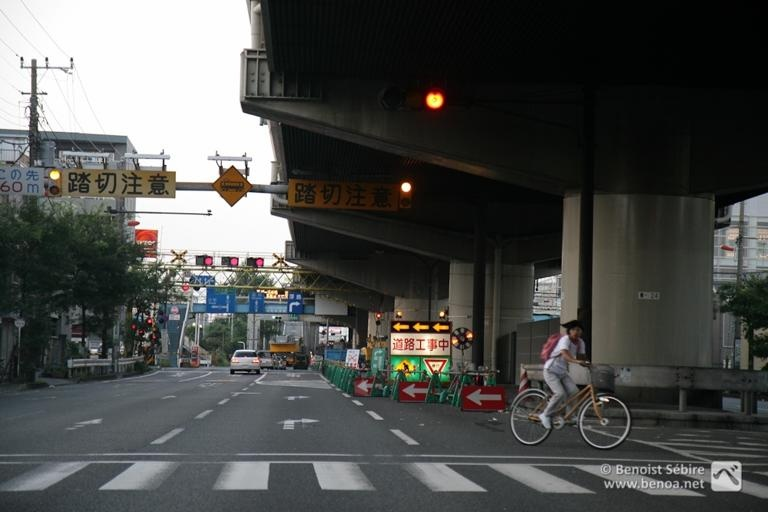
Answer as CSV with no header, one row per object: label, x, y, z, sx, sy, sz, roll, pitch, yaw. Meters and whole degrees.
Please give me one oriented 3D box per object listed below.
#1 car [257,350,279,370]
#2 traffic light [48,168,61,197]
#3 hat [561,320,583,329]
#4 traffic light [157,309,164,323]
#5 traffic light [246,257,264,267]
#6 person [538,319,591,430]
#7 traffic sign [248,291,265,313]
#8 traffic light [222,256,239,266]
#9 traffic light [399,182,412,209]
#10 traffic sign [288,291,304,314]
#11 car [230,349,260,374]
car,-9.996,9.099,81.089,1.381,1.438,2.872,1,5,2
traffic light,-12.558,-2.798,35.749,0.478,1.059,0.775,5,-8,-21
hat,4.548,1.646,22.717,0.338,0.160,0.262,-14,-16,41
traffic light,-16.009,4.354,67.193,0.421,0.922,1.996,4,-8,-15
traffic light,-7.431,0.385,54.155,0.548,0.517,0.747,2,-3,-39
person,4.352,2.886,22.690,1.054,2.655,0.557,-2,-8,29
traffic sign,-12.642,4.708,92.835,2.053,2.805,0.289,-1,-8,1
traffic light,-8.439,0.318,51.493,0.779,0.397,0.556,2,0,23
traffic light,0.862,-2.460,37.289,0.418,1.015,0.504,2,-7,-4
traffic sign,-8.284,4.383,87.638,1.916,2.703,1.422,1,-21,-8
car,-9.221,7.107,62.291,1.878,1.620,1.879,3,-8,-12
